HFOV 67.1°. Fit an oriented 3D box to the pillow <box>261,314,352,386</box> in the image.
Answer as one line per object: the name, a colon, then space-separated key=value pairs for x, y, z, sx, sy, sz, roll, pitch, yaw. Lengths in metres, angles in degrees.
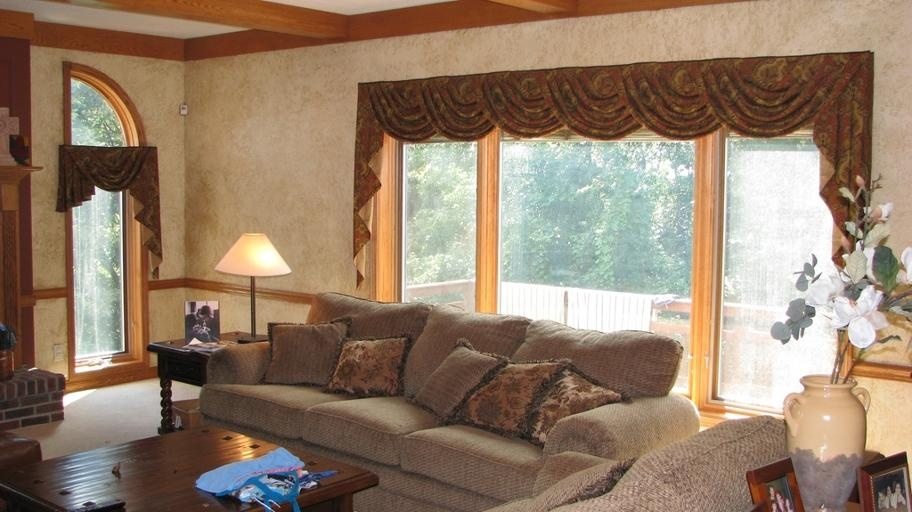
pillow: x=-1.368 y=0.810 z=5.876 sx=0.667 sy=0.552 sz=0.197 roll=4 pitch=-12 yaw=13
